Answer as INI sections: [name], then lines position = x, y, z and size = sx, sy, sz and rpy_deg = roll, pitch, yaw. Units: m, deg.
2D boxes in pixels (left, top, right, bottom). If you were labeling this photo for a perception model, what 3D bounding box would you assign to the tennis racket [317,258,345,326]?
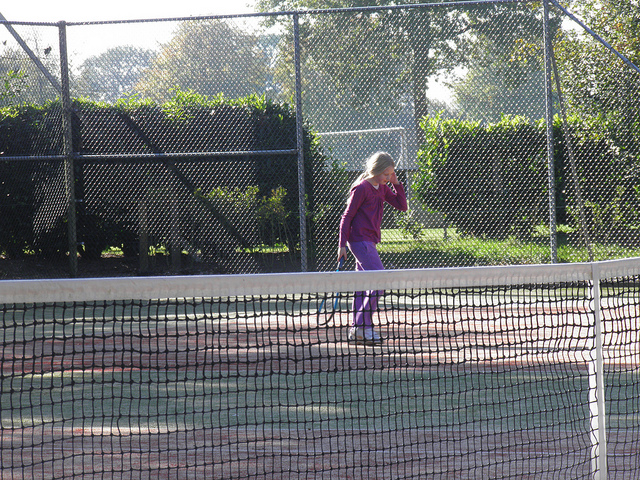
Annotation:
[tennis racket]
position = 0.091, 0.751, 14.898
size = 0.251, 0.846, 0.306
rpy_deg = 1, 6, -31
